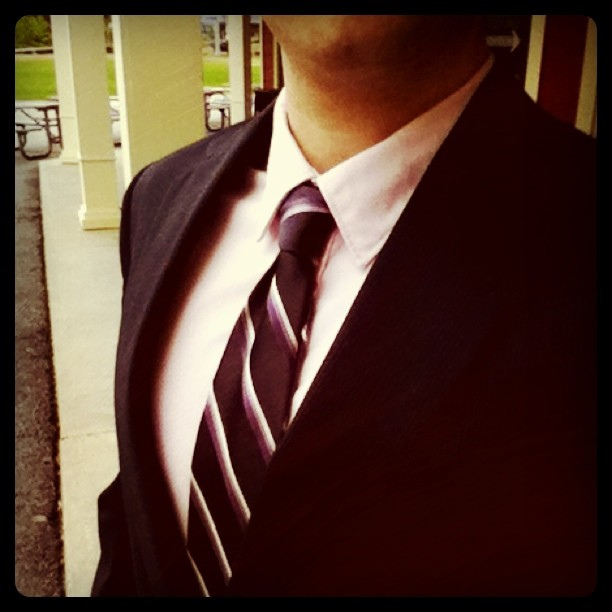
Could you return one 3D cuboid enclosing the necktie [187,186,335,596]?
[{"bbox_3d":[-0.075,0.131,0.963,0.237,0.625,0.143,-3,10,-14],"label":"necktie"}]
